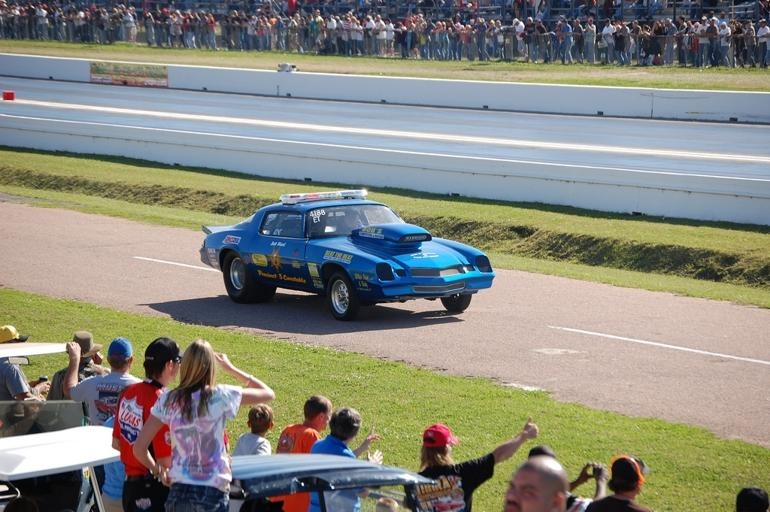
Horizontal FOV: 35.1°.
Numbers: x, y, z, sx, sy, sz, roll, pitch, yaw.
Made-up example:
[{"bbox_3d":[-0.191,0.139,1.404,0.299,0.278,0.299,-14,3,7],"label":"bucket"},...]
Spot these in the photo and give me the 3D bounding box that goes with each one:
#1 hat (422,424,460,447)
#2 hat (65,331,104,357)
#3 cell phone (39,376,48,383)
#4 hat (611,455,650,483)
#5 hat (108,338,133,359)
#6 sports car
[{"bbox_3d":[0.834,2.746,18.763,0.443,0.314,0.477,5,11,25],"label":"hat"},{"bbox_3d":[-5.050,1.469,20.765,0.446,0.173,0.449,14,23,31],"label":"hat"},{"bbox_3d":[-5.887,2.104,20.905,0.138,0.086,0.126,-2,10,-14],"label":"cell phone"},{"bbox_3d":[3.765,3.209,18.747,0.502,0.426,0.690,4,10,16],"label":"hat"},{"bbox_3d":[-4.267,1.438,19.545,0.277,0.199,0.394,-1,20,-12],"label":"hat"},{"bbox_3d":[-0.997,0.059,26.032,5.201,1.791,2.830,6,9,41],"label":"sports car"}]
